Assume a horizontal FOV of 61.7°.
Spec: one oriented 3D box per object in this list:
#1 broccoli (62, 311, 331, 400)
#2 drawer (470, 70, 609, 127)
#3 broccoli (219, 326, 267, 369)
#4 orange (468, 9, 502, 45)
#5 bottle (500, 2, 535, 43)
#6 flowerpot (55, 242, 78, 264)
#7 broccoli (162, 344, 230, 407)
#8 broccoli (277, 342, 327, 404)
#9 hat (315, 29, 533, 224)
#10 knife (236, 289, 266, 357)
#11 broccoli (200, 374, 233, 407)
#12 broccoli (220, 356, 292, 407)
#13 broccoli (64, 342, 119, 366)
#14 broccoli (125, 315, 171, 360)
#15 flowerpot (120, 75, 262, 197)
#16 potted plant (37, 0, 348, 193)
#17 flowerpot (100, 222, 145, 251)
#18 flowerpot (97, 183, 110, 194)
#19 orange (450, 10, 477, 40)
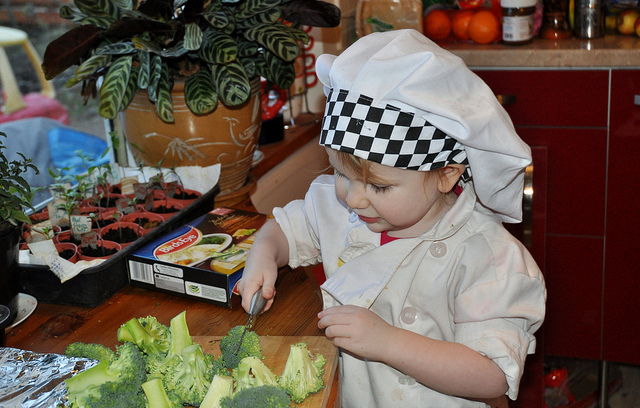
[{"bbox_3d":[-0.292,0.379,1.243,0.405,0.088,0.296,6,4,4],"label":"broccoli"},{"bbox_3d":[0.917,-0.433,2.153,0.321,0.175,0.187,7,38,12],"label":"drawer"},{"bbox_3d":[-0.196,0.345,1.310,0.071,0.046,0.100,13,40,5],"label":"broccoli"},{"bbox_3d":[0.761,-0.812,2.473,0.143,0.152,0.152,-9,1,31],"label":"orange"},{"bbox_3d":[0.899,-0.835,2.486,0.151,0.187,0.163,-1,23,7],"label":"bottle"},{"bbox_3d":[-0.739,0.143,1.570,0.053,0.047,0.061,-2,28,-6],"label":"flowerpot"},{"bbox_3d":[-0.287,0.399,1.229,0.129,0.074,0.137,-5,32,-15],"label":"broccoli"},{"bbox_3d":[-0.045,0.400,1.293,0.099,0.039,0.138,3,67,-7],"label":"broccoli"},{"bbox_3d":[0.296,-0.216,1.426,0.482,0.409,0.469,10,7,-5],"label":"hat"},{"bbox_3d":[-0.171,0.295,1.394,0.027,0.024,0.202,20,46,2],"label":"knife"},{"bbox_3d":[-0.225,0.410,1.184,0.058,0.067,0.017,15,-4,16],"label":"broccoli"},{"bbox_3d":[-0.145,0.406,1.192,0.103,0.065,0.129,8,53,-14],"label":"broccoli"},{"bbox_3d":[-0.544,0.352,1.269,0.090,0.033,0.062,1,40,6],"label":"broccoli"},{"bbox_3d":[-0.429,0.333,1.312,0.108,0.035,0.109,2,28,-5],"label":"broccoli"},{"bbox_3d":[-0.413,-0.272,1.976,0.427,0.430,0.425,14,32,37],"label":"flowerpot"},{"bbox_3d":[-0.527,-0.309,2.065,0.749,0.744,0.784,-3,19,-19],"label":"potted plant"},{"bbox_3d":[-0.603,0.076,1.633,0.088,0.033,0.095,2,38,-4],"label":"flowerpot"},{"bbox_3d":[-0.753,-0.059,1.865,0.041,0.031,0.059,-14,26,-17],"label":"flowerpot"},{"bbox_3d":[0.674,-0.851,2.543,0.120,0.130,0.123,1,1,-30],"label":"orange"}]
